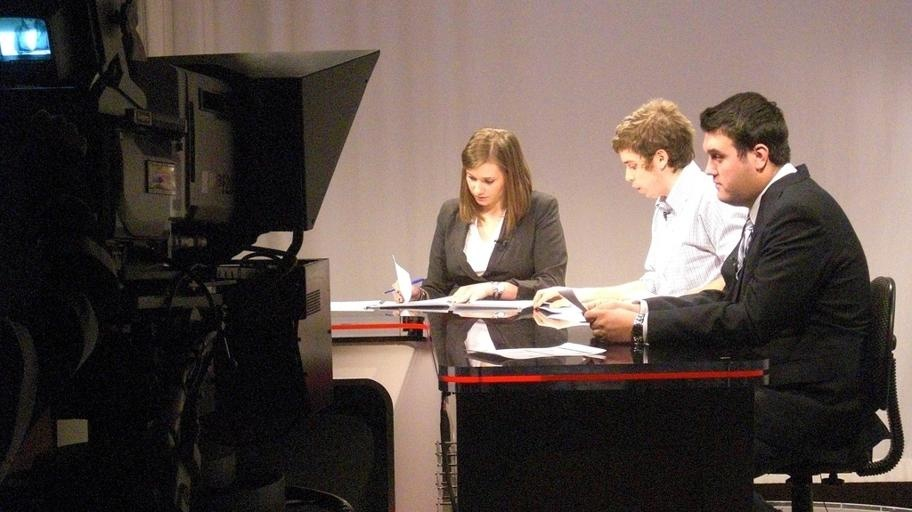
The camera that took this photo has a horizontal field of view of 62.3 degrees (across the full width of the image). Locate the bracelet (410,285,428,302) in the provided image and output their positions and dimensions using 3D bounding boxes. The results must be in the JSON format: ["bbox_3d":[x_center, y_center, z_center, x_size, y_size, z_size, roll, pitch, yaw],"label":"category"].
[{"bbox_3d":[-0.167,0.171,3.348,0.048,0.049,0.158,-5,-18,17],"label":"bracelet"}]

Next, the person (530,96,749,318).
[{"bbox_3d":[0.888,-0.173,3.421,0.957,0.988,1.035,-7,1,-25],"label":"person"}]

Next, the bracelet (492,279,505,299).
[{"bbox_3d":[0.185,0.150,3.277,0.046,0.062,0.015,6,-6,-42],"label":"bracelet"}]

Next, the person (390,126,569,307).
[{"bbox_3d":[0.141,-0.068,3.573,0.867,0.996,0.781,-5,6,-35],"label":"person"}]

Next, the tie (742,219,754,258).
[{"bbox_3d":[1.028,-0.058,2.684,0.029,0.115,0.071,19,-20,-3],"label":"tie"}]
